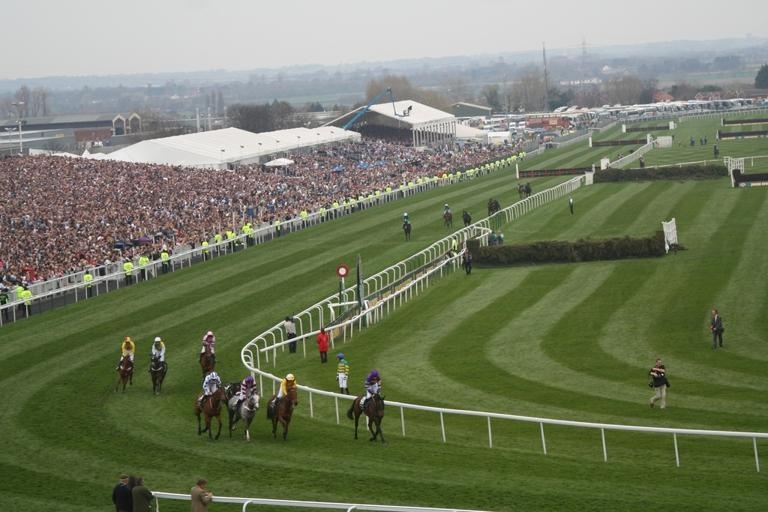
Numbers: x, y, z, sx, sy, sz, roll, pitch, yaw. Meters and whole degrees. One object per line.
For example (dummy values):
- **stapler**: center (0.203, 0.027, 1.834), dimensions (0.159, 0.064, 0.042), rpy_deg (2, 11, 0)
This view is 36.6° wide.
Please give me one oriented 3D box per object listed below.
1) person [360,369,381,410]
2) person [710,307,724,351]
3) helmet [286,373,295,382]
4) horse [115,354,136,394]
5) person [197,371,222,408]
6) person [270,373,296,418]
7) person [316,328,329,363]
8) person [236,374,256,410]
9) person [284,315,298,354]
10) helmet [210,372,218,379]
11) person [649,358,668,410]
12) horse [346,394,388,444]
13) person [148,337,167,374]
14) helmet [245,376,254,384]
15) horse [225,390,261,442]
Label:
- **person**: center (-0.462, 4.180, 37.096), dimensions (0.613, 1.141, 0.779), rpy_deg (-2, 18, 6)
- **person**: center (12.422, 2.443, 43.075), dimensions (0.495, 1.421, 1.810), rpy_deg (1, 18, 16)
- **helmet**: center (-2.978, 3.848, 36.804), dimensions (0.359, 0.181, 0.464), rpy_deg (0, -3, -8)
- **horse**: center (-9.246, 4.048, 41.417), dimensions (0.596, 1.360, 2.431), rpy_deg (10, 0, -9)
- **person**: center (-5.574, 4.200, 36.946), dimensions (0.774, 1.056, 0.392), rpy_deg (-2, 19, 6)
- **person**: center (-3.230, 4.409, 36.866), dimensions (0.845, 1.455, 0.685), rpy_deg (-8, 19, -12)
- **person**: center (-2.278, 3.280, 43.830), dimensions (0.418, 1.364, 1.097), rpy_deg (-6, 18, -4)
- **person**: center (-4.329, 4.225, 36.812), dimensions (0.688, 0.961, 0.396), rpy_deg (6, 21, 27)
- **person**: center (-3.610, 3.043, 44.861), dimensions (0.397, 1.571, 1.298), rpy_deg (-7, 18, -6)
- **helmet**: center (-5.406, 3.792, 36.830), dimensions (0.221, 0.223, 0.276), rpy_deg (-3, 17, 2)
- **person**: center (9.175, 4.124, 38.559), dimensions (0.613, 1.692, 1.019), rpy_deg (0, 19, 12)
- **horse**: center (-0.540, 5.062, 37.631), dimensions (0.662, 1.709, 2.973), rpy_deg (-2, 0, -22)
- **person**: center (-7.947, 3.390, 40.368), dimensions (0.607, 1.490, 1.085), rpy_deg (-8, 19, -12)
- **helmet**: center (-4.281, 3.893, 36.697), dimensions (0.312, 0.263, 0.350), rpy_deg (-6, 17, -8)
- **horse**: center (-4.717, 5.046, 37.007), dimensions (0.591, 1.228, 2.011), rpy_deg (-13, -15, 28)
